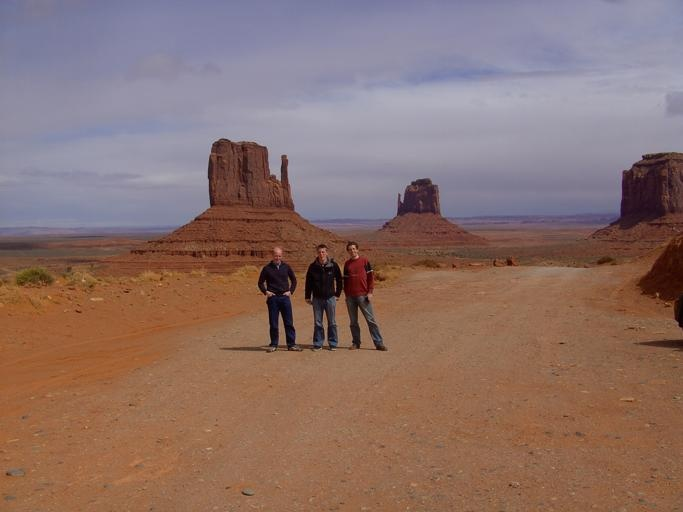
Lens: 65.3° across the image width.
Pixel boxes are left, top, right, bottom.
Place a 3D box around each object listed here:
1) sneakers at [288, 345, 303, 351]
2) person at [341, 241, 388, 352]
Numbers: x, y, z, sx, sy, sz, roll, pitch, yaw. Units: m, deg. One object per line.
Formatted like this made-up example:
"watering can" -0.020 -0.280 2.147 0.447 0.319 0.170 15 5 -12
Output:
"sneakers" -0.886 1.797 10.405 0.309 0.095 0.095 -1 3 12
"person" 0.440 0.802 10.390 0.789 2.143 0.717 -1 14 1
